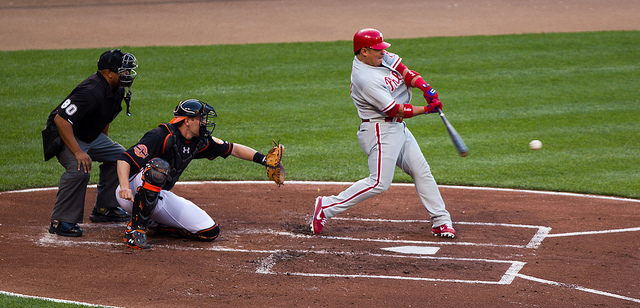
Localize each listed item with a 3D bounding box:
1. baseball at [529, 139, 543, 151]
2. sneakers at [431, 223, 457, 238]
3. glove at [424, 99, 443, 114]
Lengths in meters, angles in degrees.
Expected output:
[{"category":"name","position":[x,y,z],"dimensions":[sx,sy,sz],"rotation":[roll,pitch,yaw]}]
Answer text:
[{"category":"baseball","position":[5.265,-0.214,19.841],"dimensions":[0.335,0.134,0.278],"rotation":[-7,19,4]},{"category":"sneakers","position":[2.694,1.688,17.930],"dimensions":[0.576,0.213,0.239],"rotation":[0,4,37]},{"category":"glove","position":[2.482,-1.031,17.752],"dimensions":[0.249,0.322,0.475],"rotation":[10,23,34]}]
